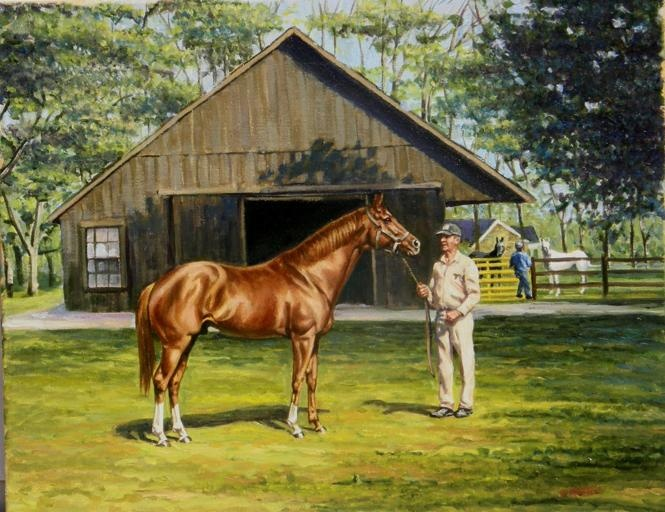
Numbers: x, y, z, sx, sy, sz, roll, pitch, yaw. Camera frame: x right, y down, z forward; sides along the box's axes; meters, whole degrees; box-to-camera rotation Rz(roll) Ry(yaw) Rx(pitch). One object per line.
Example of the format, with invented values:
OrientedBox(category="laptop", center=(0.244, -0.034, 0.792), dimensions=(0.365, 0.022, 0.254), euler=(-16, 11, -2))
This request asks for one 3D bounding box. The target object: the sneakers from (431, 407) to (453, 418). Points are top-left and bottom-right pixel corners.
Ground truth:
OrientedBox(category="sneakers", center=(2.456, 3.500, 26.257), dimensions=(0.455, 0.200, 0.246), euler=(0, -1, 13))

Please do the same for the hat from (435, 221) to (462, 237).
OrientedBox(category="hat", center=(2.546, -0.568, 25.746), dimensions=(0.535, 0.275, 0.384), euler=(8, 0, 2))
